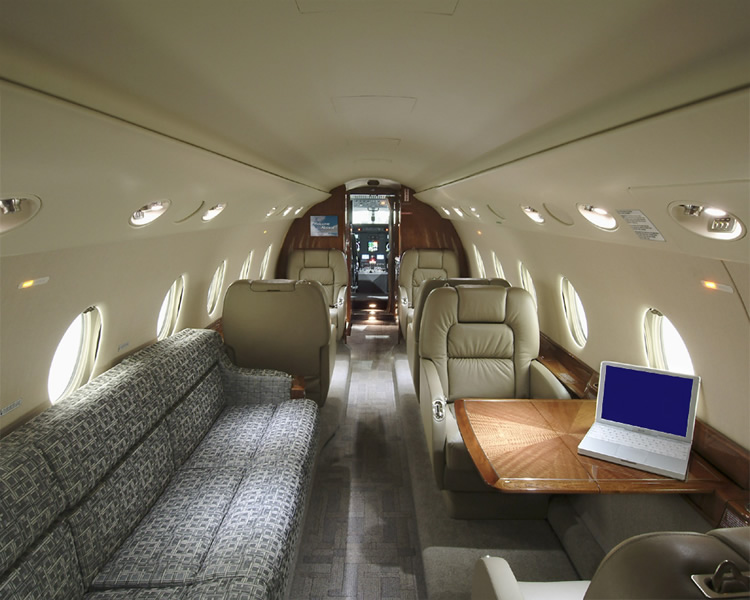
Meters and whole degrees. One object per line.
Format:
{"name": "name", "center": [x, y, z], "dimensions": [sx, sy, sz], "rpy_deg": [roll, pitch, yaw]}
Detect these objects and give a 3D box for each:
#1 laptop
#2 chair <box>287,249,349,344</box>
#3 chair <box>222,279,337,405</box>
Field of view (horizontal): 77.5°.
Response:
{"name": "laptop", "center": [1.410, 0.609, 2.486], "dimensions": [0.471, 0.407, 0.402], "rpy_deg": [8, 15, 37]}
{"name": "chair", "center": [-0.800, -0.092, 6.960], "dimensions": [1.038, 1.563, 1.285], "rpy_deg": [0, 15, 1]}
{"name": "chair", "center": [-0.941, 0.233, 4.760], "dimensions": [1.020, 1.462, 1.298], "rpy_deg": [-1, 24, -9]}
